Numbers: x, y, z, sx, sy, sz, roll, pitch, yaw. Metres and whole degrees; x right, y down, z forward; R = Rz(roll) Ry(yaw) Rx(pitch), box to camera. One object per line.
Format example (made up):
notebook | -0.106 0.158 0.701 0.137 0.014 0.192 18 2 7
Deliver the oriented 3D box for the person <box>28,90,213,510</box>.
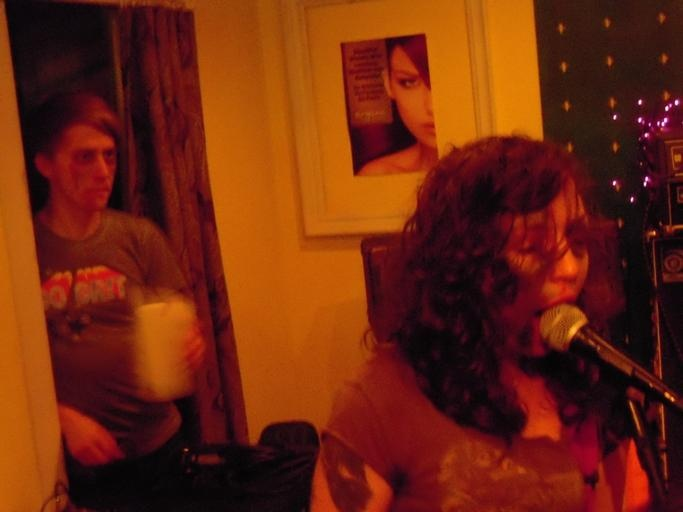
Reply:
person | -0.736 0.148 2.226 0.127 1.348 0.467 2 8 41
